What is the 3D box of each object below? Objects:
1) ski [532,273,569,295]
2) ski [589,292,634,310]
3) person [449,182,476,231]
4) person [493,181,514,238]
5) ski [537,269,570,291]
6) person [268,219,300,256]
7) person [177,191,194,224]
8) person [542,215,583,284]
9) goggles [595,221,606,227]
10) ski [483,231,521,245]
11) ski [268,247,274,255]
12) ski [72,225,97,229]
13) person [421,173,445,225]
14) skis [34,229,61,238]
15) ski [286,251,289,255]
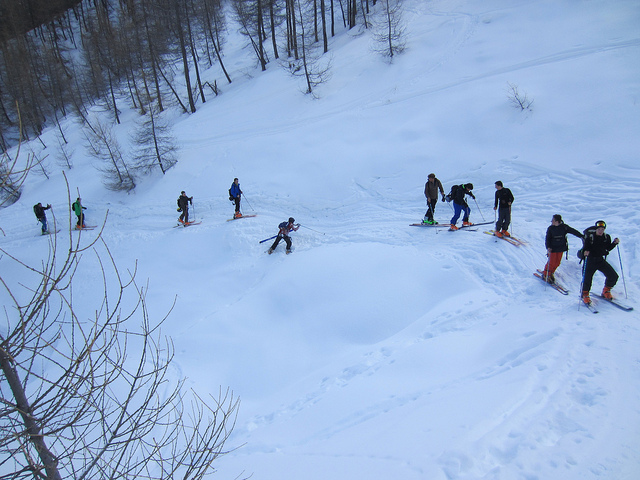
[{"bbox_3d":[8.373,1.625,18.396,1.205,0.130,0.133,41,8,39],"label":"ski"},{"bbox_3d":[9.989,2.096,17.348,0.167,0.127,1.167,29,2,-38],"label":"ski"},{"bbox_3d":[6.245,-1.378,22.269,1.042,2.157,0.885,2,51,18],"label":"person"},{"bbox_3d":[7.399,-1.247,20.442,0.648,2.241,0.658,2,25,18],"label":"person"},{"bbox_3d":[8.482,1.490,18.484,0.147,0.138,1.226,31,12,-42],"label":"ski"},{"bbox_3d":[-1.597,-0.237,22.854,1.087,1.014,1.803,-4,66,30],"label":"person"},{"bbox_3d":[-6.827,-1.645,25.469,0.760,1.860,0.941,-14,25,-17],"label":"person"},{"bbox_3d":[8.634,0.299,18.212,1.364,2.634,0.882,-7,29,0],"label":"person"},{"bbox_3d":[9.447,-0.567,17.111,0.188,0.223,0.087,23,66,-15],"label":"goggles"},{"bbox_3d":[7.439,-0.072,20.669,0.109,0.112,0.993,-12,34,-37],"label":"ski"},{"bbox_3d":[-2.194,0.492,22.837,0.186,0.086,0.238,-12,43,9],"label":"ski"},{"bbox_3d":[-12.276,-0.692,26.324,1.381,0.078,0.189,-9,23,-27],"label":"ski"},{"bbox_3d":[5.011,-1.923,22.540,0.925,2.491,1.473,-1,25,12],"label":"person"},{"bbox_3d":[-13.529,-0.322,25.112,0.797,0.124,0.271,-10,21,-5],"label":"skis"},{"bbox_3d":[-1.459,0.564,22.745,0.121,0.086,0.091,-4,25,7],"label":"ski"}]
